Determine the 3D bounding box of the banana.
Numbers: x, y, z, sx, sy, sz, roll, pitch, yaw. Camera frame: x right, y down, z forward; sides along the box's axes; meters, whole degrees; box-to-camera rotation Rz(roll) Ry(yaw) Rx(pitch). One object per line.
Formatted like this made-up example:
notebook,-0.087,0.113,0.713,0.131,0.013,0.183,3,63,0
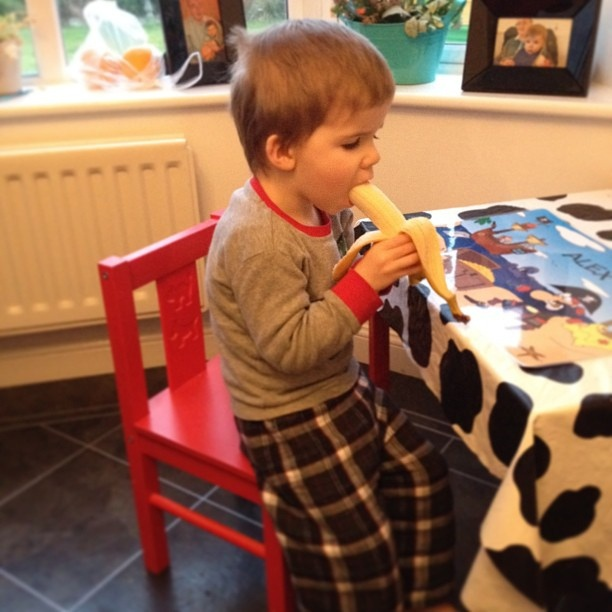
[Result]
banana,0.102,-0.068,0.765,0.191,0.071,0.149,49,42,7
